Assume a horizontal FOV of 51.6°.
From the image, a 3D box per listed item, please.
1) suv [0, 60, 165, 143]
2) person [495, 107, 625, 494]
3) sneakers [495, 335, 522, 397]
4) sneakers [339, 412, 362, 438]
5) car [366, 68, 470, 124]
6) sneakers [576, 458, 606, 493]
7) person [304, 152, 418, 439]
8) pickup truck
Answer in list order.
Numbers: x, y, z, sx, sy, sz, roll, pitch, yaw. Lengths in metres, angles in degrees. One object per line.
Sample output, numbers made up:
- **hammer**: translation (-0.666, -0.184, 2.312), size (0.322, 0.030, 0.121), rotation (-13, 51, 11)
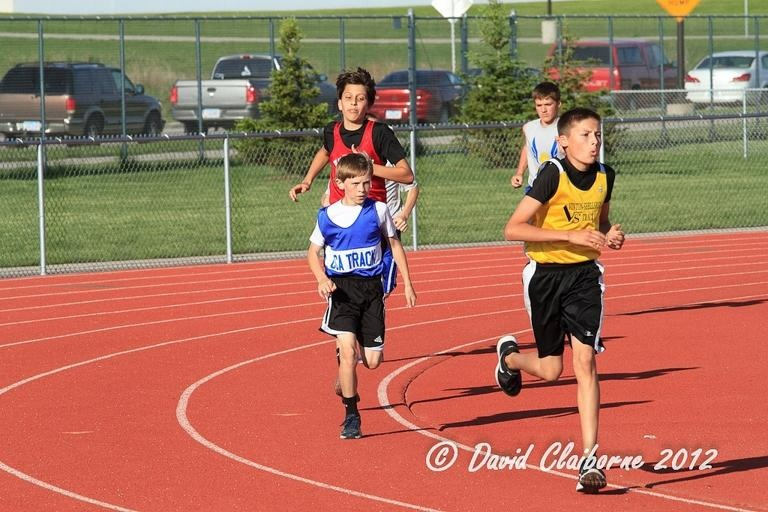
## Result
- **suv**: translation (-8.258, -4.257, 21.940), size (2.110, 1.706, 3.509), rotation (5, 12, 37)
- **person**: translation (1.226, 0.197, 5.549), size (0.846, 2.393, 1.514), rotation (0, 11, 8)
- **sneakers**: translation (0.979, 0.896, 6.364), size (0.175, 0.543, 0.226), rotation (-1, -18, 1)
- **sneakers**: translation (-0.249, 1.261, 6.043), size (0.161, 0.188, 0.199), rotation (-2, 11, -3)
- **car**: translation (0.991, -4.704, 23.600), size (1.949, 1.462, 4.350), rotation (2, 12, 15)
- **sneakers**: translation (1.322, 1.396, 5.067), size (0.168, 0.252, 0.157), rotation (1, 11, 11)
- **person**: translation (-0.159, 0.276, 6.071), size (0.759, 2.089, 0.550), rotation (-4, 11, -15)
- **pickup truck**: translation (-4.407, -4.372, 22.536), size (2.259, 1.737, 4.232), rotation (5, 17, 27)
